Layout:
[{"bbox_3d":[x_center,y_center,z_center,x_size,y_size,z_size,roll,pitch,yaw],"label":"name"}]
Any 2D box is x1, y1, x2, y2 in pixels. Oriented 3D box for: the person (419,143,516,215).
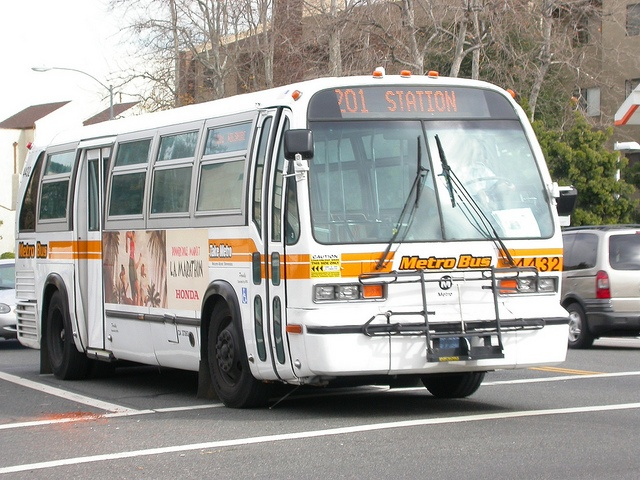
[{"bbox_3d":[1.448,-0.654,6.534,0.299,0.811,0.231,-13,-21,-24],"label":"person"}]
